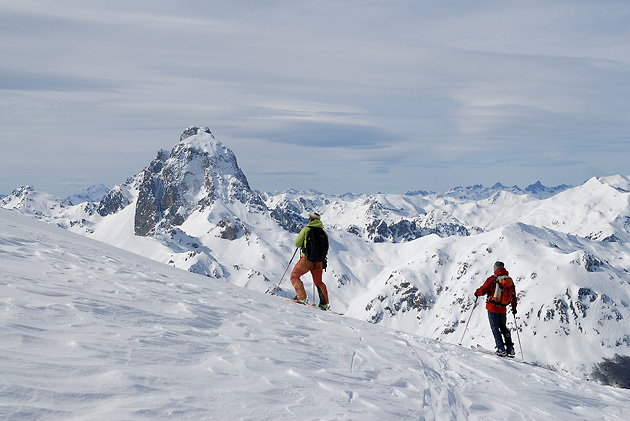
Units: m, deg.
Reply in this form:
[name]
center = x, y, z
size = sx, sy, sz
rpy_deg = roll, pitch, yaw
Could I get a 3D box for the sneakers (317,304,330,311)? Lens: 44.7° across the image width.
[sneakers]
center = 0.459, 4.705, 36.730
size = 0.223, 0.241, 0.600
rpy_deg = -8, -18, 42
